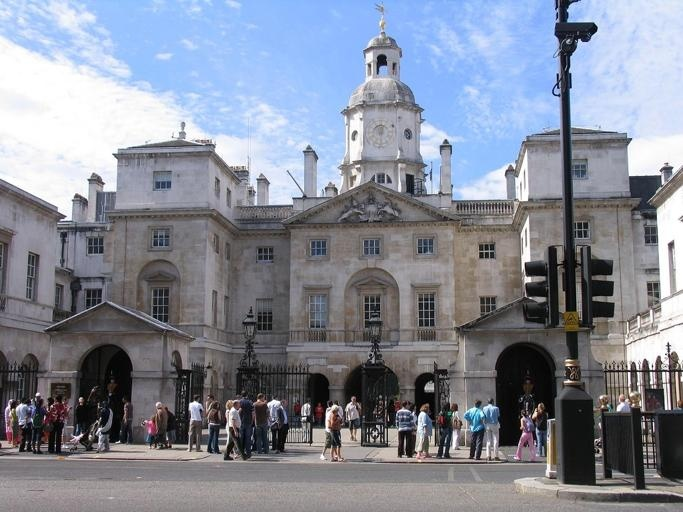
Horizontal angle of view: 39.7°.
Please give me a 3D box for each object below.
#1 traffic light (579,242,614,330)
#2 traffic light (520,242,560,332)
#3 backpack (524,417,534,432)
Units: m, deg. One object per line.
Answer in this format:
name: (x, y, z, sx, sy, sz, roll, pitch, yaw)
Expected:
traffic light: (6.784, 0.714, 25.174, 0.854, 2.252, 1.354, -4, -15, 14)
traffic light: (5.347, 0.793, 25.260, 0.938, 2.318, 0.818, -3, -15, 12)
backpack: (6.950, 6.229, 35.011, 0.206, 0.559, 0.622, -10, -18, 33)
